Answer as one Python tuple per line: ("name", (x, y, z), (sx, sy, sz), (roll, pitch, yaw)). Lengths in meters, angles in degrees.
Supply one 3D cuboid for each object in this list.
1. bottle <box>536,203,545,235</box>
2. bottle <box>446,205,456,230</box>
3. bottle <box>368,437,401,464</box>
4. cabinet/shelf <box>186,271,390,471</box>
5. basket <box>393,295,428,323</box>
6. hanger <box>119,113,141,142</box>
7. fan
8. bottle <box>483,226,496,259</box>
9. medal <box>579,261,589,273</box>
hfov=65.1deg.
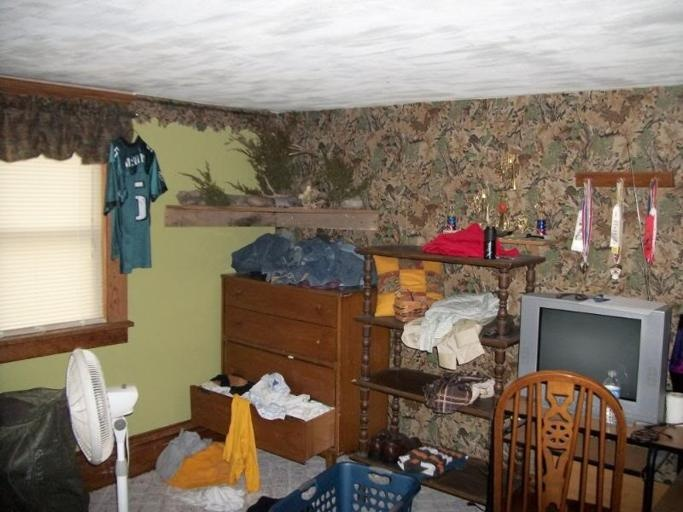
("bottle", (1.406, -0.257, 3.781), (0.072, 0.240, 0.138), (3, 8, 19))
("bottle", (0.849, -0.292, 4.140), (0.082, 0.191, 0.142), (2, 8, 12))
("bottle", (0.328, 1.509, 4.148), (0.143, 0.068, 0.189), (1, -3, 38))
("cabinet/shelf", (-0.401, 0.913, 4.769), (1.510, 1.356, 1.616), (-4, 7, -40))
("basket", (0.506, 0.386, 3.975), (0.231, 0.155, 0.169), (-1, 3, -1))
("hanger", (-1.655, -0.997, 4.154), (0.045, 0.175, 0.187), (9, 2, 29))
("fan", (-1.237, 0.958, 2.804), (0.333, 0.985, 0.367), (-4, 9, -32))
("bottle", (0.985, -0.082, 3.555), (0.080, 0.209, 0.071), (2, 8, 8))
("medal", (1.673, 0.074, 3.696), (0.060, 0.079, 0.013), (3, 8, 18))
